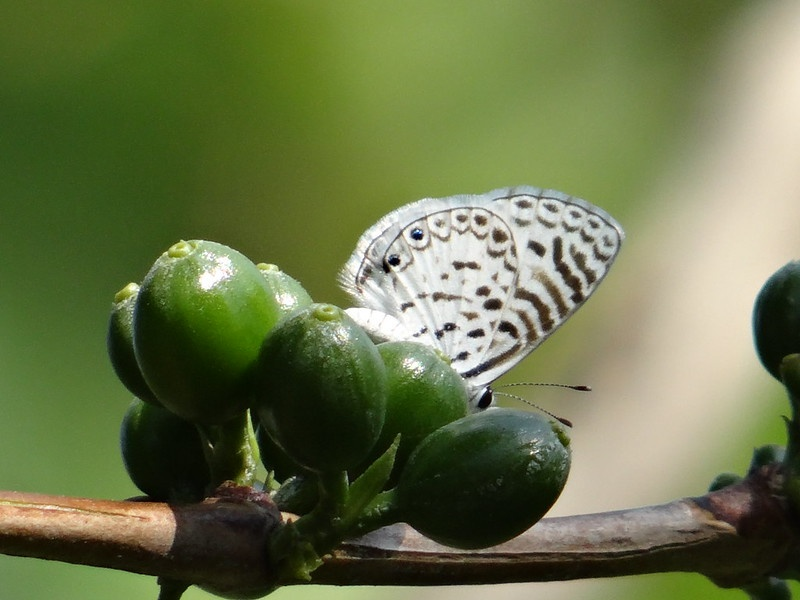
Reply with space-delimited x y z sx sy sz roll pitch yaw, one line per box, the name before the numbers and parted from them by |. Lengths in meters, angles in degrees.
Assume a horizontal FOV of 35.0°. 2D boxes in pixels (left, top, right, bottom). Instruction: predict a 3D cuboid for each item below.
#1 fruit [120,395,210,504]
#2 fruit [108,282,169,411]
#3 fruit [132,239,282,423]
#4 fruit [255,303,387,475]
fruit | -0.418 0.280 2.285 0.112 0.185 0.144 -20 -4 43
fruit | -0.488 0.083 2.258 0.108 0.185 0.147 -1 0 -16
fruit | -0.322 0.041 2.127 0.258 0.308 0.247 -14 19 -8
fruit | -0.119 0.132 2.098 0.199 0.265 0.199 3 3 37
